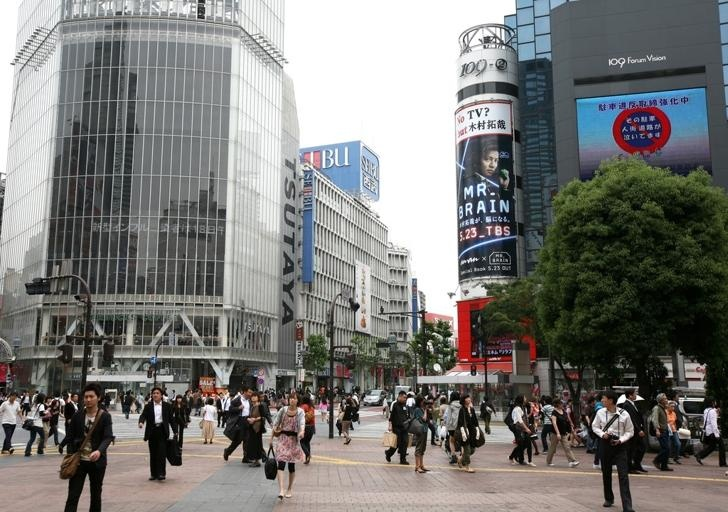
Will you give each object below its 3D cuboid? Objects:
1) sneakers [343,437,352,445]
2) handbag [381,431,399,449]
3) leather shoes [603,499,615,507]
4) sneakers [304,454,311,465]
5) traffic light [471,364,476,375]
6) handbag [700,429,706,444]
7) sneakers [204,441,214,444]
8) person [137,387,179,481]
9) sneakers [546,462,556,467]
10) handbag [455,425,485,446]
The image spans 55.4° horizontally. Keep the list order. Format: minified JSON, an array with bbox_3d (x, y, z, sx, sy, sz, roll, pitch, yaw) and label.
[{"bbox_3d":[-0.799,8.924,33.265,0.251,0.194,0.618,18,-18,-7],"label":"sneakers"},{"bbox_3d":[0.975,6.661,25.073,0.447,0.534,0.493,-3,-14,5],"label":"handbag"},{"bbox_3d":[6.740,6.848,19.090,0.282,0.187,0.254,-5,-15,11],"label":"leather shoes"},{"bbox_3d":[-2.045,7.438,25.367,0.198,0.258,0.598,2,-34,-13],"label":"sneakers"},{"bbox_3d":[7.453,7.705,47.097,0.372,0.682,0.166,-2,-23,5],"label":"traffic light"},{"bbox_3d":[12.835,6.849,26.164,0.155,0.509,1.231,-7,-15,22],"label":"handbag"},{"bbox_3d":[-7.149,8.593,31.897,0.420,0.190,0.140,2,-13,22],"label":"sneakers"},{"bbox_3d":[-6.494,5.611,21.887,1.106,2.870,1.035,3,-15,-18],"label":"person"},{"bbox_3d":[6.930,7.764,25.705,0.235,0.092,0.667,-6,-15,13],"label":"sneakers"},{"bbox_3d":[3.710,6.313,24.215,0.933,0.677,0.588,-2,-4,17],"label":"handbag"}]
